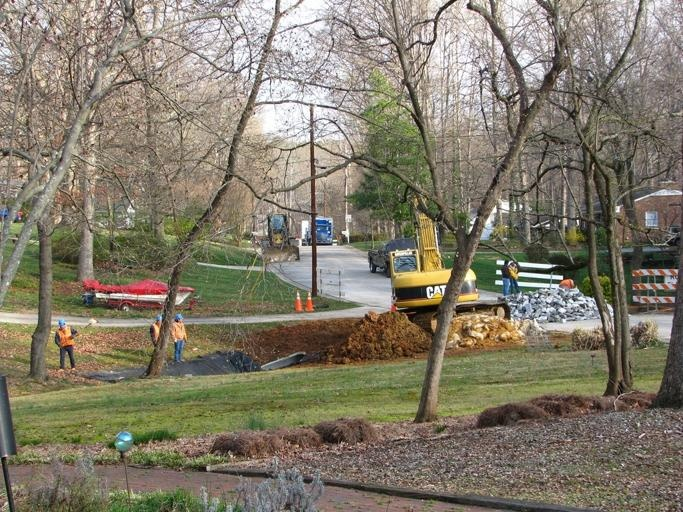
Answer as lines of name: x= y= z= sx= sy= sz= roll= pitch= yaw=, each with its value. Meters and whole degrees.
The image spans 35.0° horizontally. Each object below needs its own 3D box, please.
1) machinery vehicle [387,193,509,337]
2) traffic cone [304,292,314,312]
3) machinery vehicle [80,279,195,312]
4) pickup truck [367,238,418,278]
machinery vehicle: x=3.098 y=0.843 z=36.875 sx=2.691 sy=3.998 sz=4.549 roll=0 pitch=0 yaw=37
traffic cone: x=-1.385 y=2.048 z=47.067 sx=0.595 sy=0.871 sz=0.639 roll=-1 pitch=-2 yaw=-6
machinery vehicle: x=-9.004 y=1.638 z=45.131 sx=3.359 sy=1.274 sz=1.113 roll=1 pitch=-3 yaw=-26
pickup truck: x=3.011 y=0.095 z=61.120 sx=1.968 sy=2.097 sz=4.726 roll=2 pitch=3 yaw=-20
